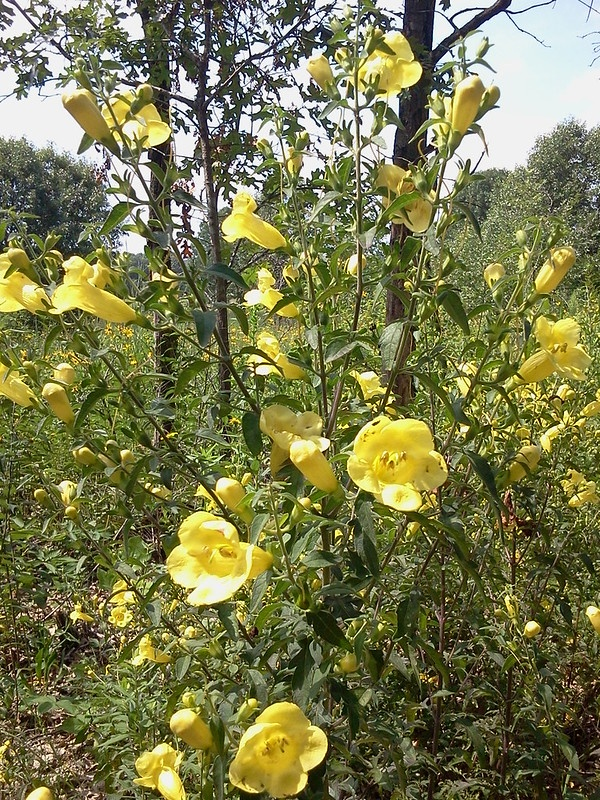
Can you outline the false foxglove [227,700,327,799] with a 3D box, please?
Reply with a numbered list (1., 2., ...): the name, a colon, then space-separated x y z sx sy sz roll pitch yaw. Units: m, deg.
1. false foxglove: -0.051 0.766 1.464 0.203 0.233 0.145 -8 -5 19
